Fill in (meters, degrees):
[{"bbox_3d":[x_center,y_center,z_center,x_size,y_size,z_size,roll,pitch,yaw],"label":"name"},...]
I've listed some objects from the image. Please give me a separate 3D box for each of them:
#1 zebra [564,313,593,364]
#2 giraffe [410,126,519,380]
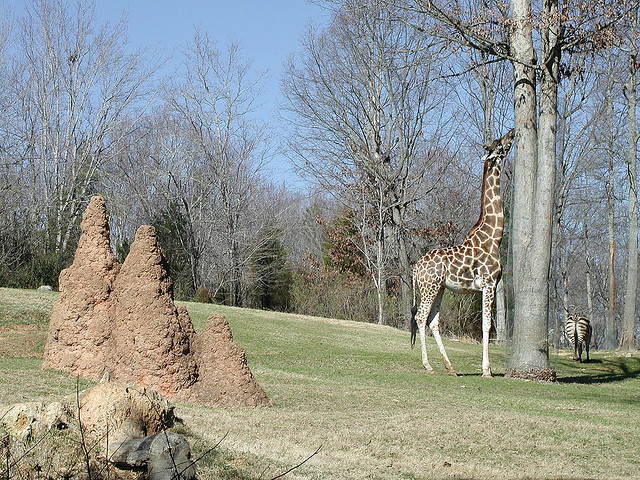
[{"bbox_3d":[9.078,3.430,28.794,0.863,2.021,4.288,-2,-11,18],"label":"zebra"},{"bbox_3d":[3.846,0.278,21.714,2.615,6.749,1.187,-2,-9,17],"label":"giraffe"}]
